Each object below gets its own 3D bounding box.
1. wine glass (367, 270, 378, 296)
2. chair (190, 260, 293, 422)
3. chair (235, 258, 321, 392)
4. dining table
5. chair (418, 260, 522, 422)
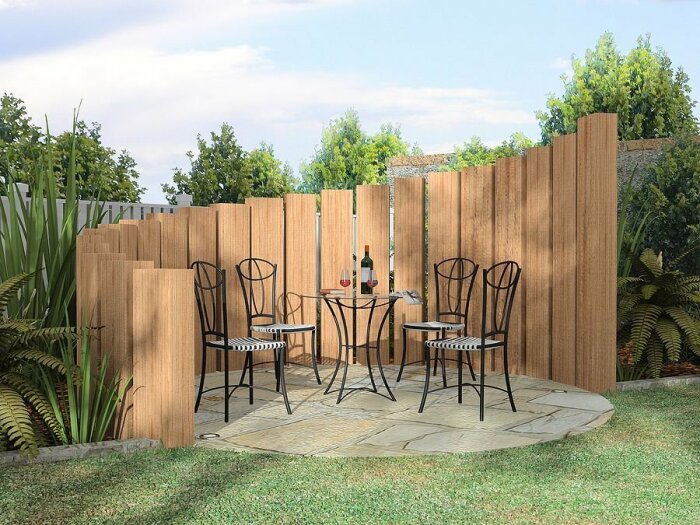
[{"bbox_3d":[0.219,0.197,6.594,0.089,0.252,0.218,0,3,8],"label":"wine glass"},{"bbox_3d":[-0.737,0.656,6.151,0.694,1.296,0.638,13,-4,20],"label":"chair"},{"bbox_3d":[-0.760,0.605,6.730,0.684,1.268,0.605,-1,-1,34],"label":"chair"},{"bbox_3d":[0.072,0.925,7.026,1.122,1.149,1.214,-17,-1,13],"label":"dining table"},{"bbox_3d":[1.082,0.659,5.852,0.731,1.368,0.652,-1,-2,43],"label":"chair"}]
